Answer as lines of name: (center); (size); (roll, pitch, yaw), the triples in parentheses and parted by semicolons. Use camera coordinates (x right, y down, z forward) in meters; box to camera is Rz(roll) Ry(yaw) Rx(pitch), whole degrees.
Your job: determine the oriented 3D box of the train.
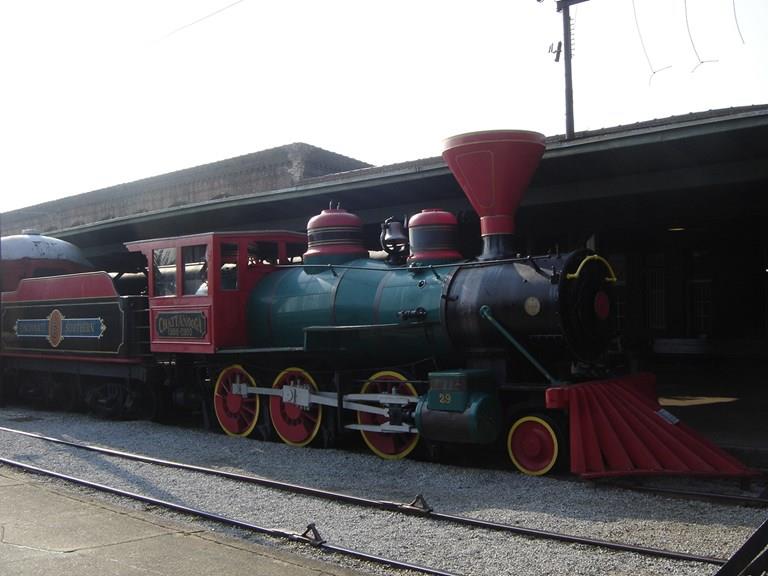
train: (-3.831, 0.616, 15.203); (20.560, 6.301, 4.230); (-4, -4, 40)
